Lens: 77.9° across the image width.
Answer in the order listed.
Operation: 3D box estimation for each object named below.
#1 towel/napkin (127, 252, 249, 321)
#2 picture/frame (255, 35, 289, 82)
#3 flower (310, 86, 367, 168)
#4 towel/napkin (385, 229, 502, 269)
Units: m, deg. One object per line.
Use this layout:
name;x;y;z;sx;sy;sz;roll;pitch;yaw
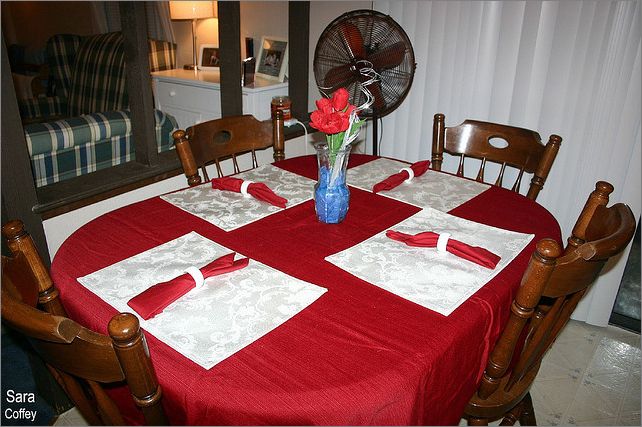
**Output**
towel/napkin;-0.431;0.216;1.262;0.141;0.052;0.337;24;35;29
picture/frame;-0.430;-1.363;3.525;0.443;0.455;0.031;13;6;41
flower;0.018;-0.341;1.533;0.236;0.329;0.222;-9;26;-16
towel/napkin;0.409;0.121;1.478;0.455;0.084;0.124;16;28;29
